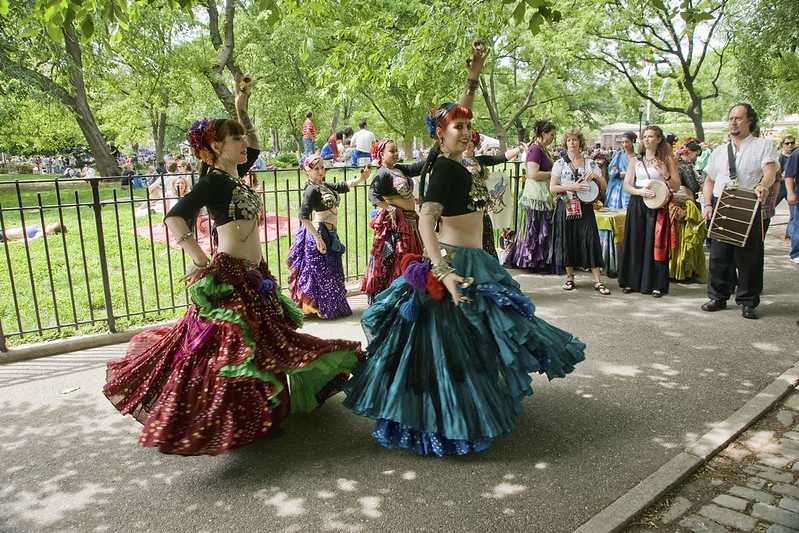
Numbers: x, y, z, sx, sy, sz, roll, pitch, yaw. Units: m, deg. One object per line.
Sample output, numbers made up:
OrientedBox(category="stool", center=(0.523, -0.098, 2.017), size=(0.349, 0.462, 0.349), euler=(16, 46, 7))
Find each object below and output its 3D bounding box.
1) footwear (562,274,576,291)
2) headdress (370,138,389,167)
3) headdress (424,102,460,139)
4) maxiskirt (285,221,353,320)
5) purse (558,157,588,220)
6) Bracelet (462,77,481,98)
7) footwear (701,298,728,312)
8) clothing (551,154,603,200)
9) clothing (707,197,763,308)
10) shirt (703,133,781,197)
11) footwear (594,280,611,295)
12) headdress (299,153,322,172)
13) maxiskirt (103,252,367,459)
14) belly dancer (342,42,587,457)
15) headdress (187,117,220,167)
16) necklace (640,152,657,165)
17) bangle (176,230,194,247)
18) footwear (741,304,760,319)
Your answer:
OrientedBox(category="footwear", center=(2.541, 0.241, 7.868), size=(0.123, 0.152, 0.370), euler=(-3, -4, 24))
OrientedBox(category="headdress", center=(-0.213, -1.343, 6.225), size=(0.294, 0.296, 0.257), euler=(-4, 23, -36))
OrientedBox(category="headdress", center=(0.383, -1.235, 4.329), size=(0.344, 0.161, 0.279), euler=(-10, -7, 7))
OrientedBox(category="maxiskirt", center=(-1.030, 0.084, 6.689), size=(0.796, 1.206, 1.050), euler=(-14, 24, -32))
OrientedBox(category="purse", center=(2.458, -1.107, 7.459), size=(0.540, 0.761, 0.191), euler=(-11, 13, 13))
OrientedBox(category="Bracelet", center=(0.621, -1.573, 4.615), size=(0.148, 0.142, 0.148), euler=(17, 4, 5))
OrientedBox(category="footwear", center=(4.031, 0.515, 6.764), size=(0.326, 0.134, 0.139), euler=(0, -2, -8))
OrientedBox(category="clothing", center=(2.519, -1.246, 7.642), size=(0.565, 0.773, 0.281), euler=(18, 49, 10))
OrientedBox(category="clothing", center=(4.194, -0.130, 6.590), size=(0.544, 1.212, 0.483), euler=(5, 13, 43))
OrientedBox(category="shirt", center=(4.234, -1.259, 6.569), size=(0.786, 0.743, 0.370), euler=(5, 13, 43))
OrientedBox(category="footwear", center=(2.923, 0.305, 7.569), size=(0.222, 0.151, 0.295), euler=(0, 9, 19))
OrientedBox(category="headdress", center=(-1.084, -1.275, 6.437), size=(0.240, 0.179, 0.194), euler=(8, 11, 32))
OrientedBox(category="maxiskirt", center=(-1.468, 0.560, 4.553), size=(2.056, 1.365, 1.366), euler=(1, 16, -34))
OrientedBox(category="belly dancer", center=(0.546, -0.490, 5.281), size=(2.673, 3.918, 2.349), euler=(-1, 29, 11))
OrientedBox(category="headdress", center=(-1.575, -1.004, 4.229), size=(0.308, 0.336, 0.197), euler=(-14, 12, -28))
OrientedBox(category="necklace", center=(3.414, -1.491, 7.265), size=(0.165, 0.032, 0.176), euler=(-5, 41, 13))
OrientedBox(category="bangle", center=(-1.630, -0.214, 3.996), size=(0.108, 0.032, 0.076), euler=(-32, -13, 10))
OrientedBox(category="footwear", center=(4.330, 0.555, 6.511), size=(0.171, 0.156, 0.219), euler=(2, 11, 33))
